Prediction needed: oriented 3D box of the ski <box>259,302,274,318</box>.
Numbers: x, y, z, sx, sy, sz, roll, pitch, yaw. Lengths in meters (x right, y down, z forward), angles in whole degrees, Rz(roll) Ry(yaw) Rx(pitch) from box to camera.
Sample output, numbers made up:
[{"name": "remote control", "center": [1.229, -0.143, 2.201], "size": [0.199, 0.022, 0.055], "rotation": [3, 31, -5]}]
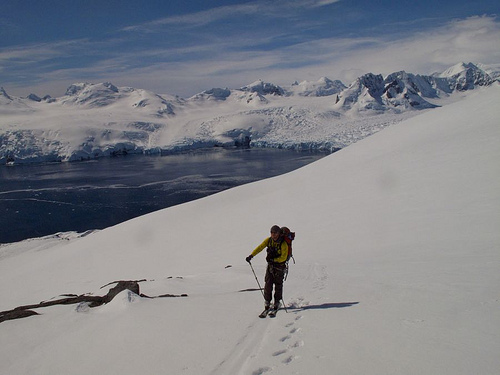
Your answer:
[{"name": "ski", "center": [0.553, 4.021, 15.440], "size": [0.582, 0.218, 0.176], "rotation": [-32, 10, -28]}]
